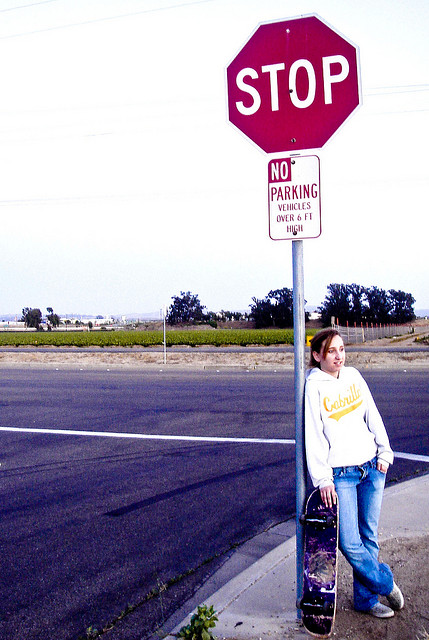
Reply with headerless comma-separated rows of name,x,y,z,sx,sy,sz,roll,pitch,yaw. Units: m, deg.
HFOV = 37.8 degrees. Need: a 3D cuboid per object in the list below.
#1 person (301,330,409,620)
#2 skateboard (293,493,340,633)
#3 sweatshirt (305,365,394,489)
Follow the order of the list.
person,0.766,0.798,3.431,0.400,1.874,0.420,-15,21,3
skateboard,0.483,1.156,3.154,0.243,0.657,0.371,-1,-1,-3
sweatshirt,0.704,0.603,3.407,0.389,0.288,0.769,-9,48,6
